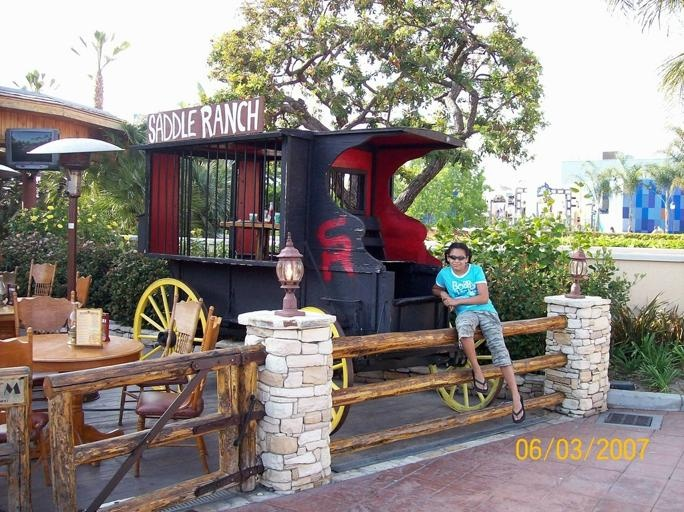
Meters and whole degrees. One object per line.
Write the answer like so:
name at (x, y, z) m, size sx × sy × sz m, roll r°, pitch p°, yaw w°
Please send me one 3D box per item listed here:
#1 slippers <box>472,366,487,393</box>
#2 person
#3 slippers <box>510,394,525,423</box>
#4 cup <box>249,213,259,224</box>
slippers at (1.317, 1.173, 5.335) m, size 0.137 × 0.055 × 0.332 m, roll -1°, pitch 25°, yaw -5°
person at (1.328, 0.593, 5.468) m, size 0.621 × 2.116 × 0.562 m, roll -20°, pitch -28°, yaw 12°
slippers at (1.722, 1.531, 5.414) m, size 0.149 × 0.093 × 0.451 m, roll -12°, pitch 26°, yaw 22°
cup at (-1.112, -0.474, 7.024) m, size 0.166 × 0.122 × 0.134 m, roll -3°, pitch -4°, yaw 40°
